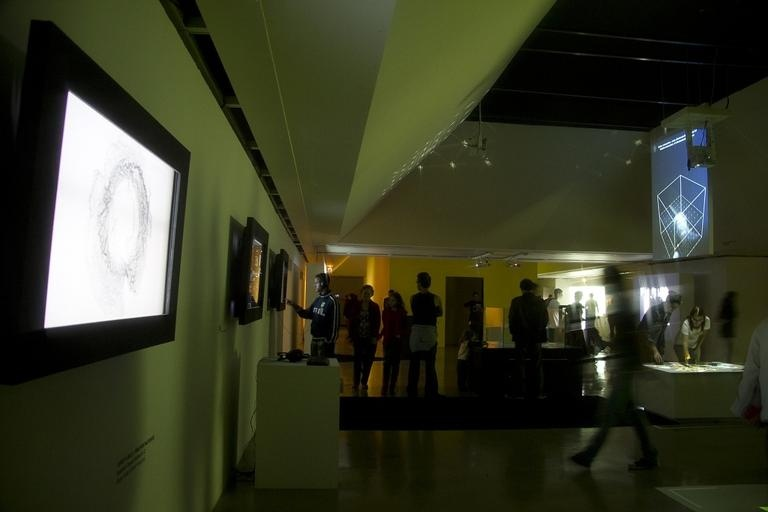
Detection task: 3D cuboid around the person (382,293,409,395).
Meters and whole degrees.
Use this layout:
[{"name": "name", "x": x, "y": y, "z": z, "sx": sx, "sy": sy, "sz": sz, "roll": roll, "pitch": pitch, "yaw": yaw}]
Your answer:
[{"name": "person", "x": 0.150, "y": 1.260, "z": 8.112, "sx": 0.350, "sy": 1.488, "sz": 0.509, "roll": 1, "pitch": -4, "yaw": 0}]

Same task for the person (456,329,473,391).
[{"name": "person", "x": 1.218, "y": 1.579, "z": 8.320, "sx": 0.215, "sy": 0.946, "sz": 0.426, "roll": 1, "pitch": -4, "yaw": 8}]

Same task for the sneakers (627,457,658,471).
[{"name": "sneakers", "x": 2.396, "y": 1.926, "z": 5.185, "sx": 0.184, "sy": 0.071, "sz": 0.138, "roll": -2, "pitch": 0, "yaw": 0}]

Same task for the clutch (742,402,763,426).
[{"name": "clutch", "x": 3.215, "y": 1.389, "z": 4.886, "sx": 0.115, "sy": 0.143, "sz": 0.151, "roll": 5, "pitch": -5, "yaw": 29}]

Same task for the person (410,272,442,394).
[{"name": "person", "x": 0.570, "y": 1.097, "z": 7.706, "sx": 0.431, "sy": 1.726, "sz": 0.763, "roll": 1, "pitch": -4, "yaw": 5}]

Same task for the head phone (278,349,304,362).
[{"name": "head phone", "x": -0.782, "y": 0.884, "z": 4.807, "sx": 0.189, "sy": 0.076, "sz": 0.119, "roll": -4, "pitch": 10, "yaw": -12}]

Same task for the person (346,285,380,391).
[{"name": "person", "x": -0.280, "y": 1.225, "z": 8.218, "sx": 0.444, "sy": 1.568, "sz": 0.959, "roll": 1, "pitch": -3, "yaw": -4}]
